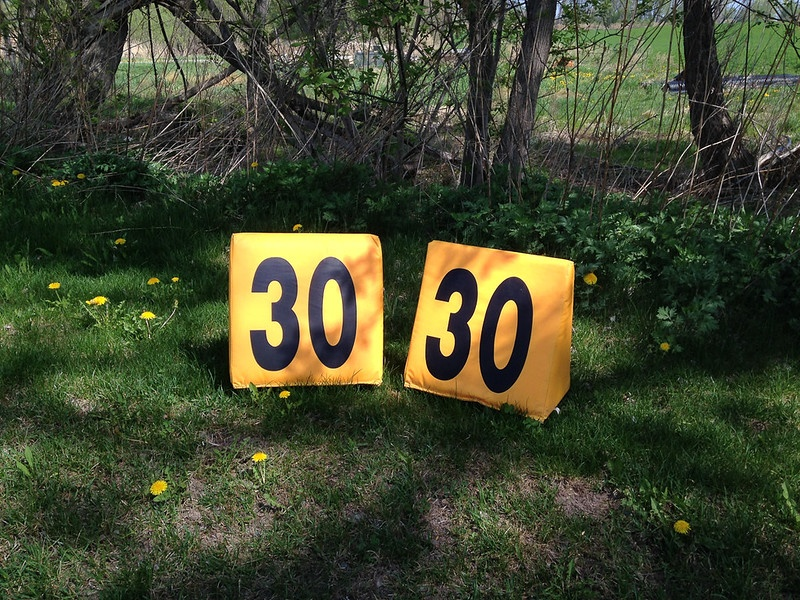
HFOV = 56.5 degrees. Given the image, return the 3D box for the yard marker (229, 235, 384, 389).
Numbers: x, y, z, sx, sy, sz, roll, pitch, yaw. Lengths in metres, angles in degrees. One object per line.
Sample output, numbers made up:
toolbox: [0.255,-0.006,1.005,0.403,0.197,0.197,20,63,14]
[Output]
yard marker: [-0.591,0.098,4.421,0.698,0.856,0.280,0,-3,-3]
